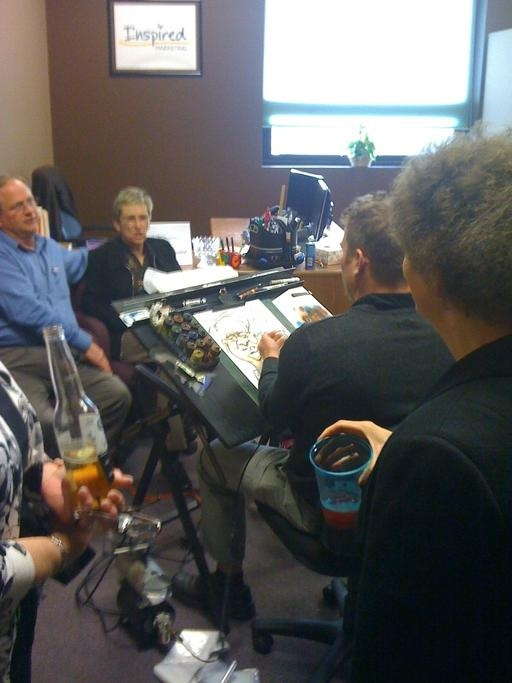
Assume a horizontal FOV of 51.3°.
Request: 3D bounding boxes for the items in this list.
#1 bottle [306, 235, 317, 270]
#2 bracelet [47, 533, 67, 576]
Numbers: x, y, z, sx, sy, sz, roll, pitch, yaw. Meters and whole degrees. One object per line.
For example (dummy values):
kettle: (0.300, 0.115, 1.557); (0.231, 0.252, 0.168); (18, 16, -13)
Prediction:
bottle: (0.300, -0.490, 2.947); (0.061, 0.220, 0.127); (-1, 26, -1)
bracelet: (-0.310, 0.328, 0.821); (0.040, 0.051, 0.014); (-6, -1, -26)
